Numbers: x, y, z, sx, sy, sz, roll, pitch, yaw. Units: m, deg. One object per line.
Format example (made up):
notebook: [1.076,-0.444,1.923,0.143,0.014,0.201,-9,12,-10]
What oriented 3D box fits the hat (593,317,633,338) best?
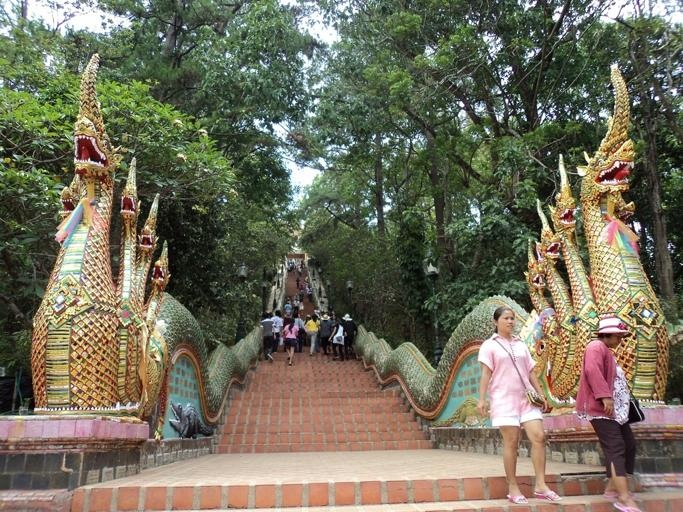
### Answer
hat: [2.870,0.753,5.463,0.243,0.120,0.293,1,-19,3]

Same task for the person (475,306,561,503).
person: [1.668,1.403,4.988,0.730,1.769,0.565,1,2,12]

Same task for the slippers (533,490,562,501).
slippers: [1.947,2.239,4.915,0.215,0.091,0.098,0,-9,13]
